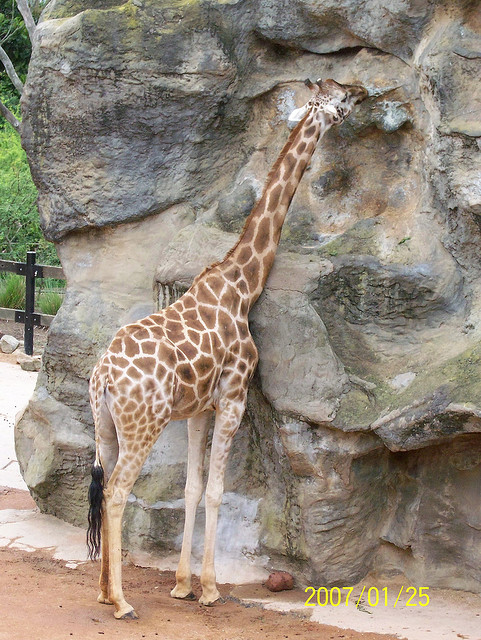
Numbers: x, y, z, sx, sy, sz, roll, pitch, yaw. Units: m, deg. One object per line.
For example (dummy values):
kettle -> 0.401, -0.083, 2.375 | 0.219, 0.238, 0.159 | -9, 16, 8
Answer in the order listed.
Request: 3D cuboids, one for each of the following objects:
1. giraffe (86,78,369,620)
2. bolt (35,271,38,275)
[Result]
giraffe -> -0.217, 0.098, 7.015 | 0.643, 2.938, 1.772 | 9, 13, 35
bolt -> -2.196, -0.509, 13.068 | 0.031, 0.036, 0.018 | 3, 10, 5
